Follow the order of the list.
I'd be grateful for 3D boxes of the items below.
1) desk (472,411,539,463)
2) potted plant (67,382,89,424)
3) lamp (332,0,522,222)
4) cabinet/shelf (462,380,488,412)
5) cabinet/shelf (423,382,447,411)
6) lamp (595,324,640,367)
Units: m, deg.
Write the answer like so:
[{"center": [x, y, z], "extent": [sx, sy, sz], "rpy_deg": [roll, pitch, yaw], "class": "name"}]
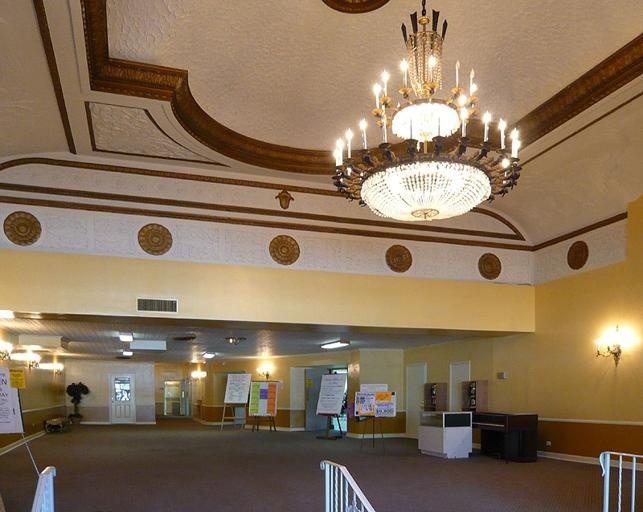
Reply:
[{"center": [4.196, 4.166, 12.569], "extent": [0.721, 0.998, 1.568], "rpy_deg": [5, -13, -16], "class": "desk"}, {"center": [-11.496, 6.744, 25.172], "extent": [0.976, 1.743, 1.305], "rpy_deg": [7, -15, -24], "class": "potted plant"}, {"center": [1.332, -1.963, 6.772], "extent": [1.536, 2.426, 1.698], "rpy_deg": [2, -29, 4], "class": "lamp"}, {"center": [4.014, 3.644, 14.125], "extent": [0.280, 0.774, 0.761], "rpy_deg": [11, -17, -37], "class": "cabinet/shelf"}, {"center": [3.355, 4.067, 15.677], "extent": [0.355, 0.717, 0.721], "rpy_deg": [7, -13, -18], "class": "cabinet/shelf"}, {"center": [5.834, 1.694, 10.590], "extent": [0.608, 0.699, 0.653], "rpy_deg": [-1, -7, 25], "class": "lamp"}]
